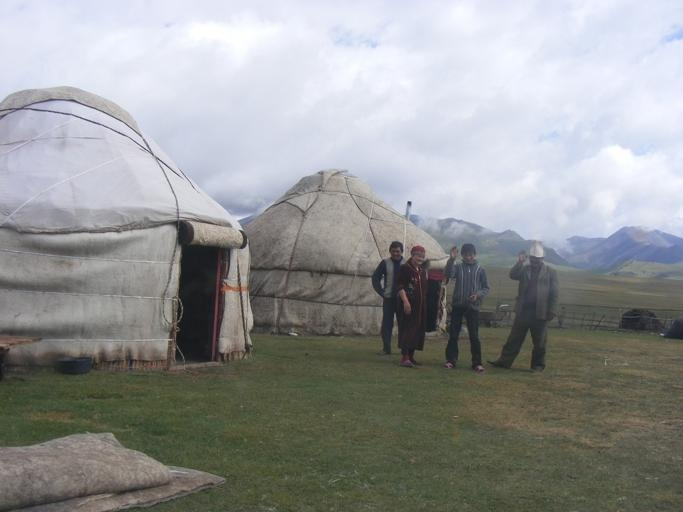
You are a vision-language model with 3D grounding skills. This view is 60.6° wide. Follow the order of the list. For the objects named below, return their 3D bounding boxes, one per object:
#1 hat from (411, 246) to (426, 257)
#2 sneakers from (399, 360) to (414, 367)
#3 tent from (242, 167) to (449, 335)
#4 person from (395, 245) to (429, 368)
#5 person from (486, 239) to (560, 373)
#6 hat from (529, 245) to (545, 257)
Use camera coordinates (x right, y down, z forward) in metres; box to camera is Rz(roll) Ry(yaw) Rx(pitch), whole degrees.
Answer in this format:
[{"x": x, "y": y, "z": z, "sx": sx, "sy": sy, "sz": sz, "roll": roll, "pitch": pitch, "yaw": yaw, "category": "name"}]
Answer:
[{"x": 1.157, "y": -0.076, "z": 8.867, "sx": 0.193, "sy": 0.183, "sz": 0.164, "roll": -1, "pitch": 6, "yaw": 25, "category": "hat"}, {"x": 0.981, "y": 1.651, "z": 8.919, "sx": 0.213, "sy": 0.098, "sz": 0.080, "roll": -7, "pitch": -7, "yaw": 42, "category": "sneakers"}, {"x": -0.132, "y": -0.014, "z": 15.795, "sx": 4.736, "sy": 2.961, "sz": 4.519, "roll": 1, "pitch": -6, "yaw": -3, "category": "tent"}, {"x": 1.057, "y": 0.760, "z": 8.871, "sx": 0.442, "sy": 1.748, "sz": 0.539, "roll": 3, "pitch": 0, "yaw": 8, "category": "person"}, {"x": 2.957, "y": 0.781, "z": 9.285, "sx": 0.866, "sy": 1.803, "sz": 1.336, "roll": 3, "pitch": -1, "yaw": 19, "category": "person"}, {"x": 2.999, "y": -0.074, "z": 8.958, "sx": 0.175, "sy": 0.178, "sz": 0.223, "roll": 0, "pitch": -3, "yaw": 15, "category": "hat"}]
